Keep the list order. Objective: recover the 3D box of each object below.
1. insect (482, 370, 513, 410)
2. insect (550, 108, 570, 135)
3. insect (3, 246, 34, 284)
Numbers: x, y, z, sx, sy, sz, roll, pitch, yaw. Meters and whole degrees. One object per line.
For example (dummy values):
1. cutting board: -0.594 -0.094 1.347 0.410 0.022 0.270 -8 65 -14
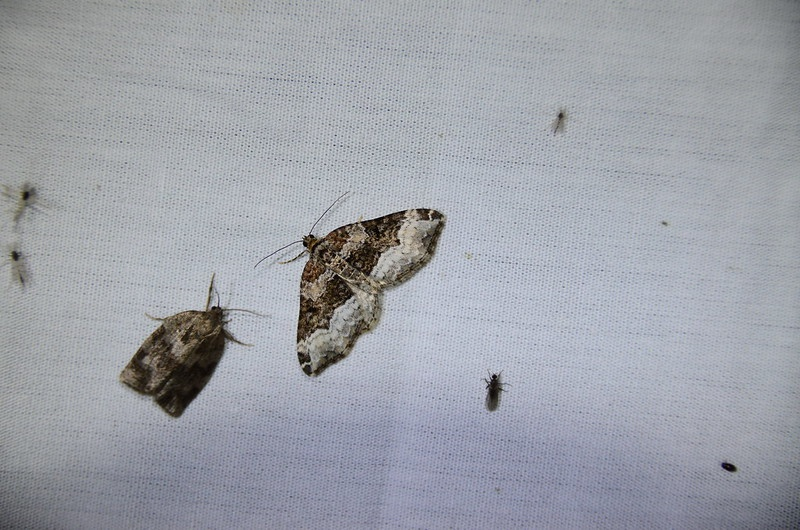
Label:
1. insect: 0.463 0.599 4.171 0.138 0.055 0.181 0 -96 4
2. insect: 0.769 -0.691 4.166 0.080 0.046 0.117 26 -90 12
3. insect: -1.832 -0.006 4.158 0.110 0.048 0.176 -17 -83 -13
